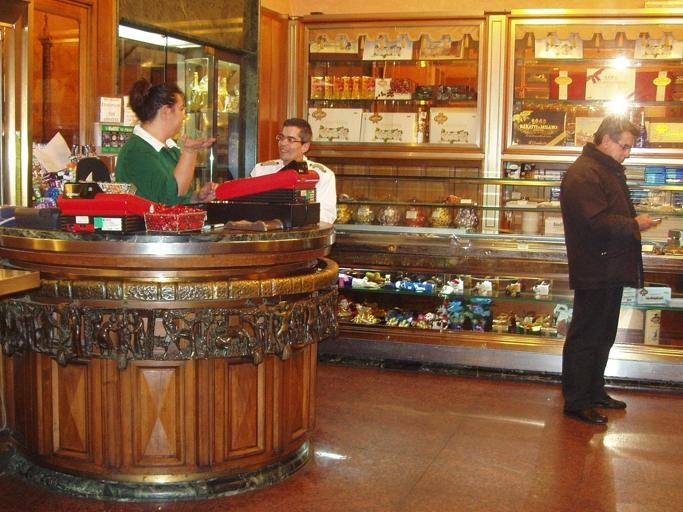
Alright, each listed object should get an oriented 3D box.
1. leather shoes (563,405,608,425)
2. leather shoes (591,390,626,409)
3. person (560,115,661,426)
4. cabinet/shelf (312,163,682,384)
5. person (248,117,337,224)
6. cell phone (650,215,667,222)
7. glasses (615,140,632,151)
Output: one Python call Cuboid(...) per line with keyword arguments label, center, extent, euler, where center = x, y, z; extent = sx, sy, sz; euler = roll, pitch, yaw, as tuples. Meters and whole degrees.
Cuboid(label="leather shoes", center=(1.548, 1.008, 3.851), extent=(0.265, 0.092, 0.097), euler=(-2, 0, 42))
Cuboid(label="leather shoes", center=(1.786, 0.973, 4.078), extent=(0.282, 0.089, 0.086), euler=(-1, 6, 14))
Cuboid(label="person", center=(1.651, 0.072, 3.875), extent=(0.467, 1.904, 0.510), euler=(-5, 12, -37))
Cuboid(label="cabinet/shelf", center=(1.178, 0.201, 4.457), extent=(2.047, 0.936, 0.604), euler=(2, 12, 14))
Cuboid(label="person", center=(-0.322, -0.635, 4.342), extent=(0.586, 0.762, 1.113), euler=(0, 9, -11))
Cuboid(label="cell phone", center=(2.179, -0.261, 4.150), extent=(0.102, 0.024, 0.090), euler=(-4, 7, -9))
Cuboid(label="glasses", center=(1.792, -0.708, 3.823), extent=(0.075, 0.078, 0.067), euler=(3, -4, 14))
